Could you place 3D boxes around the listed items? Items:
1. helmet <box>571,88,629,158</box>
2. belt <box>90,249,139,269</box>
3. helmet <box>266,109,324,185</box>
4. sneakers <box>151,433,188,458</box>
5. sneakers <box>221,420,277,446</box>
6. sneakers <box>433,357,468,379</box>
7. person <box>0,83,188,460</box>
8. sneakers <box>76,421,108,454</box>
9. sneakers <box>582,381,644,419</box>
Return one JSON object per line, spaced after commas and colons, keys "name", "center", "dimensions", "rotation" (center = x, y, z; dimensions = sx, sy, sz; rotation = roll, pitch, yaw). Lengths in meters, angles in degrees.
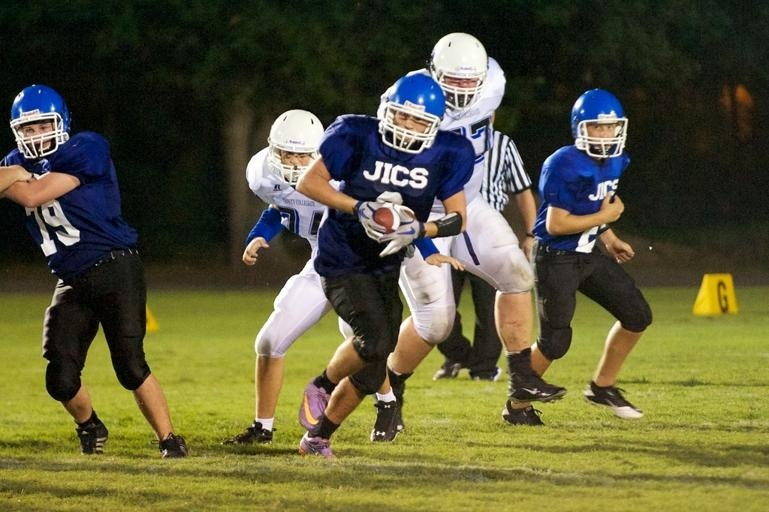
{"name": "helmet", "center": [1.623, -0.996, 8.247], "dimensions": [0.447, 0.432, 0.524], "rotation": [-5, 30, -8]}
{"name": "belt", "center": [-1.888, 0.021, 7.666], "dimensions": [0.190, 0.051, 0.145], "rotation": [-19, -4, 37]}
{"name": "helmet", "center": [-0.637, -0.765, 7.940], "dimensions": [0.401, 0.533, 0.370], "rotation": [-3, 9, -6]}
{"name": "sneakers", "center": [-1.469, 1.302, 7.580], "dimensions": [0.112, 0.111, 0.278], "rotation": [-11, -19, 3]}
{"name": "sneakers", "center": [-0.932, 1.266, 8.013], "dimensions": [0.468, 0.178, 0.141], "rotation": [1, -4, 0]}
{"name": "sneakers", "center": [0.573, 1.009, 9.807], "dimensions": [0.400, 0.230, 0.125], "rotation": [0, 3, -8]}
{"name": "person", "center": [-2.052, 0.108, 7.667], "dimensions": [1.113, 2.545, 0.582], "rotation": [-2, 10, 1]}
{"name": "sneakers", "center": [-2.049, 1.273, 7.772], "dimensions": [0.283, 0.236, 0.159], "rotation": [5, -5, -14]}
{"name": "sneakers", "center": [1.730, 1.096, 8.487], "dimensions": [0.544, 0.219, 0.184], "rotation": [21, 0, 2]}
